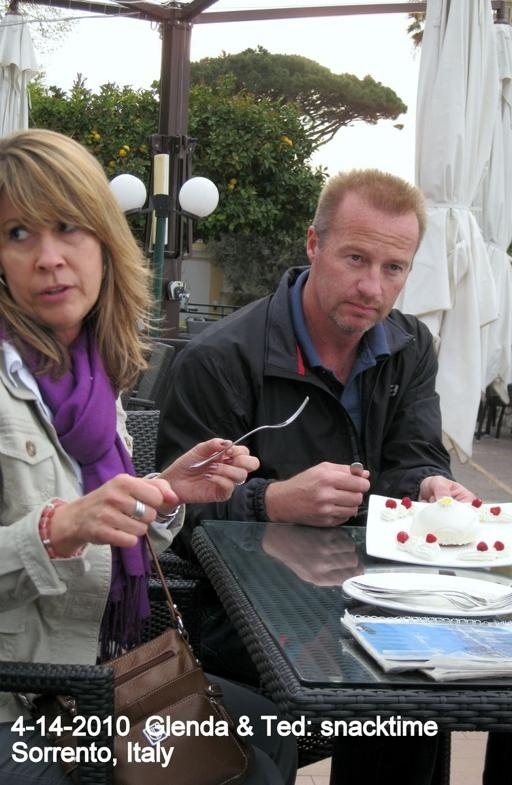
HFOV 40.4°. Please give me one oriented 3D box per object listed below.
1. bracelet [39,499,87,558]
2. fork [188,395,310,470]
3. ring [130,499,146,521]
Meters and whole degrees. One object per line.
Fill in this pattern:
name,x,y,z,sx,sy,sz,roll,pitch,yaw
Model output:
bracelet,-0.344,0.231,1.208,0.037,0.082,0.088,-27,31,-1
fork,-0.030,0.107,1.954,0.601,0.080,0.056,-19,-10,-36
ring,-0.190,0.191,1.133,0.029,0.026,0.023,8,-7,2
